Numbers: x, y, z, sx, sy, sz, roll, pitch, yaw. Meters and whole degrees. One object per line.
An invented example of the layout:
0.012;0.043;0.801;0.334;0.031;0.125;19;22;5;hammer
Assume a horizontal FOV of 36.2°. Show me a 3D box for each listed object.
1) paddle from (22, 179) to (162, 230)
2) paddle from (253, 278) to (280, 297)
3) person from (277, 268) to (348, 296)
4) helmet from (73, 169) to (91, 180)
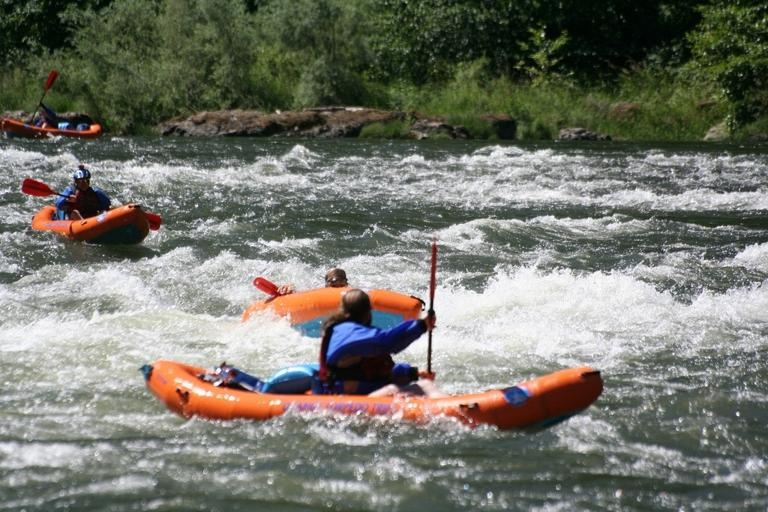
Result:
-7.719;-1.289;30.509;4.041;0.630;0.377;17;-3;8;paddle
-2.760;0.701;27.174;0.638;0.336;0.162;30;-1;-5;paddle
-1.557;0.528;26.817;1.216;0.446;0.727;-11;1;10;person
-7.836;-2.114;30.103;0.369;0.290;0.298;-2;11;-10;helmet
